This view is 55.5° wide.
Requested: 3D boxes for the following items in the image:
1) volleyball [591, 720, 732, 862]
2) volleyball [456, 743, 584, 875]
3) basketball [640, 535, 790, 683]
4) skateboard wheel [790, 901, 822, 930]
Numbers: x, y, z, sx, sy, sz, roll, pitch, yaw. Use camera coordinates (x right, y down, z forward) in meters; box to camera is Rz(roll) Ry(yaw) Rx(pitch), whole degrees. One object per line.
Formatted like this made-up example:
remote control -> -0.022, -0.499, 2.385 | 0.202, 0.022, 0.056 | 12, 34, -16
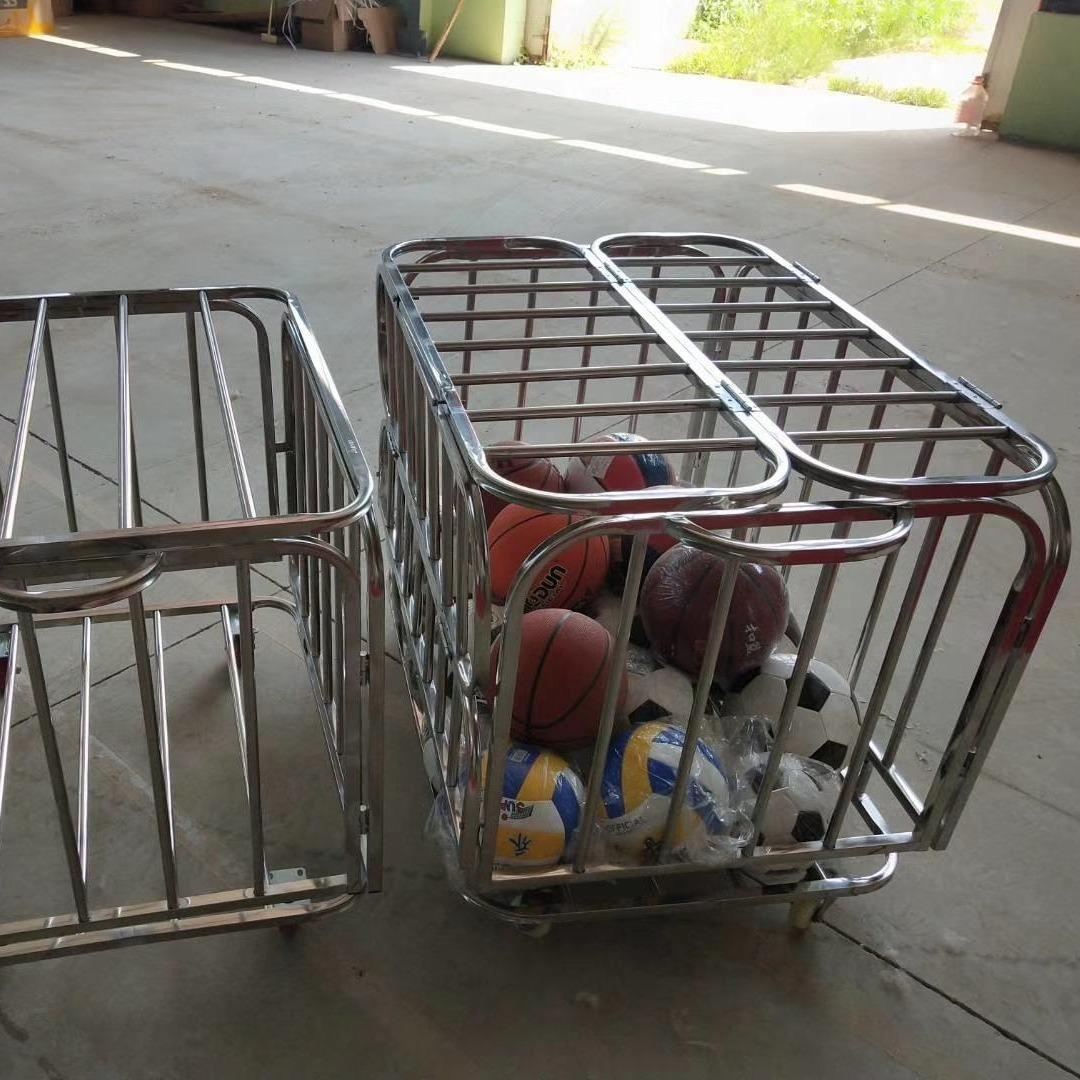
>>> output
volleyball -> 0.176, 0.343, 1.470 | 0.174, 0.173, 0.165 | -3, 6, 23
volleyball -> -0.005, 0.374, 1.491 | 0.167, 0.149, 0.185 | 14, 10, 2
basketball -> 0.231, 0.110, 1.609 | 0.223, 0.171, 0.248 | 5, -2, -10
skateboard wheel -> 0.413, 0.584, 1.595 | 0.042, 0.058, 0.035 | -5, 55, -4
